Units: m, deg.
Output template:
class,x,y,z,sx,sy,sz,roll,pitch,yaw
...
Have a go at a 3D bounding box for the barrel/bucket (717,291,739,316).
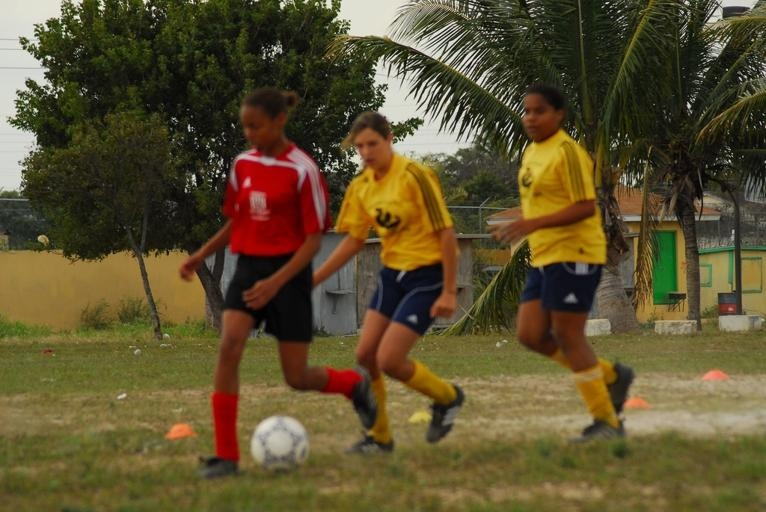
class,x,y,z,sx,sy,sz,roll,pitch,yaw
barrel/bucket,10.356,1.427,29.984,0.795,0.871,0.618,-1,-5,9
